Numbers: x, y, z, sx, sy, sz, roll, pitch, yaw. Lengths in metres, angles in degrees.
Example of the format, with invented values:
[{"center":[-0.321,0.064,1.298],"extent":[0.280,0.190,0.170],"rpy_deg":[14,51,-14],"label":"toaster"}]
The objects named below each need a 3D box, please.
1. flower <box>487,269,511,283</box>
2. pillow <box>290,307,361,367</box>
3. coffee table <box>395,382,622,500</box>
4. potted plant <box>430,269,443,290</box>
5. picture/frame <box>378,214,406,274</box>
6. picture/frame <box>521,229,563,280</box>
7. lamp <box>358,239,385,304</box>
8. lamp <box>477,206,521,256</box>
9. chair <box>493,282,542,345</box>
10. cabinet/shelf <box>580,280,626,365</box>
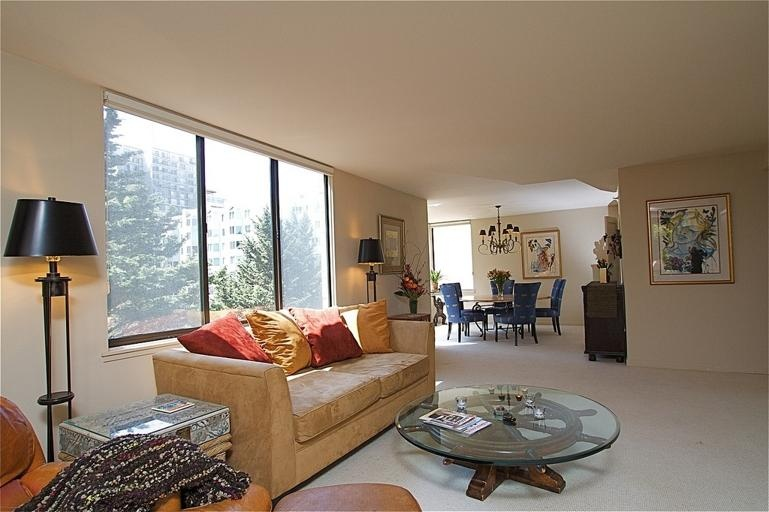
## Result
[{"center":[2.349,0.388,9.819],"extent":[0.362,0.274,0.351],"rpy_deg":[-1,2,-24],"label":"flower"},{"center":[-0.604,0.772,5.035],"extent":[0.638,0.581,0.190],"rpy_deg":[3,-36,-45],"label":"pillow"},{"center":[0.982,1.493,3.973],"extent":[1.692,0.544,1.132],"rpy_deg":[-2,6,0],"label":"coffee table"},{"center":[1.178,0.545,11.495],"extent":[0.416,0.394,0.405],"rpy_deg":[2,-2,1],"label":"potted plant"},{"center":[0.103,-0.197,7.709],"extent":[0.072,0.948,0.983],"rpy_deg":[-3,-4,24],"label":"picture/frame"},{"center":[3.470,-0.057,10.737],"extent":[1.138,1.494,0.057],"rpy_deg":[-3,-1,40],"label":"picture/frame"},{"center":[-0.195,0.194,7.030],"extent":[0.369,0.932,0.629],"rpy_deg":[-2,7,-3],"label":"lamp"},{"center":[2.450,-0.599,10.764],"extent":[1.019,1.218,1.026],"rpy_deg":[-5,-8,40],"label":"lamp"},{"center":[2.326,0.966,8.673],"extent":[0.713,1.132,1.457],"rpy_deg":[0,7,15],"label":"chair"},{"center":[3.060,0.926,6.849],"extent":[0.480,1.021,1.150],"rpy_deg":[-1,-3,28],"label":"cabinet/shelf"}]
